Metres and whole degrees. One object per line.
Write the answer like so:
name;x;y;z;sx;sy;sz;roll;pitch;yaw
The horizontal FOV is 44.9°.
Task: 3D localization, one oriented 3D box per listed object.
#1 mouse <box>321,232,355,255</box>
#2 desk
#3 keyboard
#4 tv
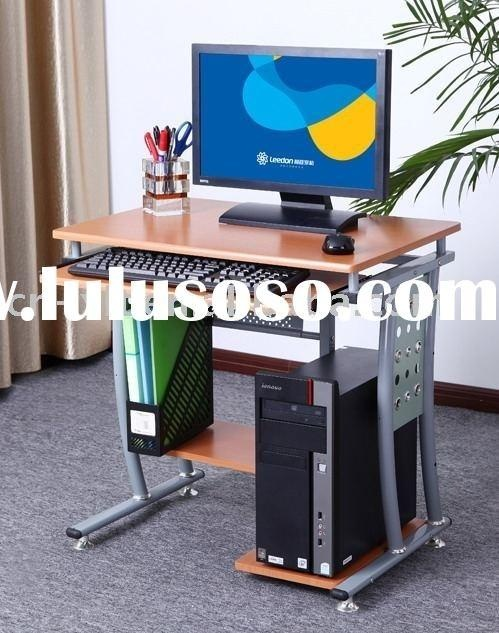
mouse;0.152;-0.122;1.025;0.051;0.041;0.108;0;4;10
desk;-0.006;0.205;1.531;0.915;0.800;0.518;2;9;40
keyboard;-0.146;-0.093;1.140;0.535;0.086;0.161;2;5;34
tv;0.093;-0.390;1.302;0.434;0.354;0.190;11;24;25
